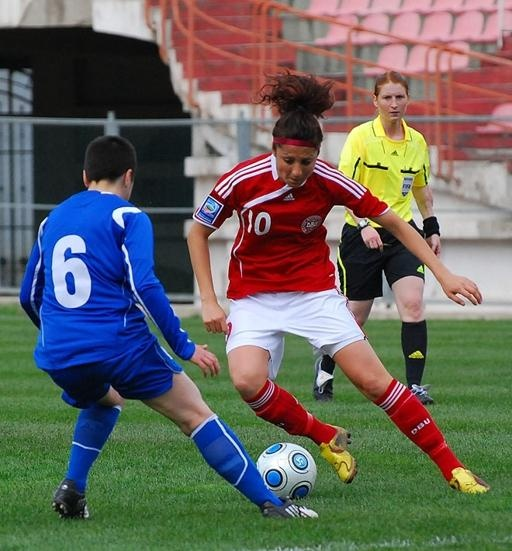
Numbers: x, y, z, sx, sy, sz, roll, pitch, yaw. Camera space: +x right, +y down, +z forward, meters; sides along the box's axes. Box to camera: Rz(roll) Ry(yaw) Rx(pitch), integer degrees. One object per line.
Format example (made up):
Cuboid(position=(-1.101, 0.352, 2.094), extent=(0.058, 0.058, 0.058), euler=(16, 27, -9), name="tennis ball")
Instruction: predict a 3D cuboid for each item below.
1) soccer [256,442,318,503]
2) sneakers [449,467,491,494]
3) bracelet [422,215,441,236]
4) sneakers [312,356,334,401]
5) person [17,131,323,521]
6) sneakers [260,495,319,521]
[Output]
Cuboid(position=(0.144, 0.855, 5.289), extent=(0.279, 0.224, 0.234), euler=(9, 8, 2), name="soccer")
Cuboid(position=(0.917, 0.872, 5.142), extent=(0.082, 0.057, 0.148), euler=(-27, 31, -34), name="sneakers")
Cuboid(position=(1.065, -0.289, 7.072), extent=(0.096, 0.116, 0.126), euler=(-1, -6, -9), name="bracelet")
Cuboid(position=(0.390, 0.607, 7.121), extent=(0.105, 0.287, 0.126), euler=(0, 7, -20), name="sneakers")
Cuboid(position=(-0.468, 0.292, 4.954), extent=(1.065, 1.252, 0.439), euler=(3, 10, -4), name="person")
Cuboid(position=(0.126, 0.947, 4.897), extent=(0.252, 0.102, 0.082), euler=(-2, -1, -3), name="sneakers")
